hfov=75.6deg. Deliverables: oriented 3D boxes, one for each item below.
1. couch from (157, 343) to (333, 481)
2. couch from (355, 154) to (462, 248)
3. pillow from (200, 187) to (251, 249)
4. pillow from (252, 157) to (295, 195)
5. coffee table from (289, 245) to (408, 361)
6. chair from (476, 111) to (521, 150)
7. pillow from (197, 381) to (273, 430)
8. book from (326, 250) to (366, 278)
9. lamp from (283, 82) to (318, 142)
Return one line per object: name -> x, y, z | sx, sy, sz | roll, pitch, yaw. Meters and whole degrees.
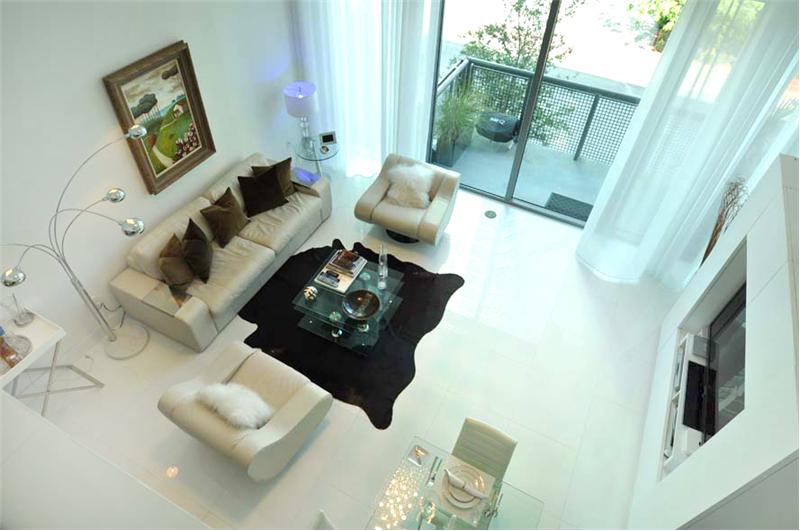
couch -> -1.624, 1.596, 5.649 | 1.575, 0.613, 1.409 | 27, 49, 20
couch -> 0.191, -0.986, 7.989 | 1.519, 1.062, 1.263 | 18, 60, 11
pillow -> -2.452, -0.646, 7.154 | 0.345, 0.567, 0.681 | 12, 52, 28
pillow -> -1.888, -1.302, 7.604 | 0.473, 0.475, 0.164 | -36, 34, -22
coffee table -> -0.638, 0.464, 6.799 | 1.230, 0.316, 1.309 | 25, 55, 19
chair -> 1.533, -2.109, 8.098 | 0.499, 0.530, 0.567 | 14, 1, 7
pillow -> -1.816, 1.484, 5.571 | 0.631, 0.176, 0.470 | 26, 32, 21
book -> -0.745, -0.038, 7.072 | 0.373, 0.097, 0.371 | 17, 50, 14
lamp -> -1.554, -2.369, 8.215 | 0.490, 1.068, 0.795 | -7, 44, -10
